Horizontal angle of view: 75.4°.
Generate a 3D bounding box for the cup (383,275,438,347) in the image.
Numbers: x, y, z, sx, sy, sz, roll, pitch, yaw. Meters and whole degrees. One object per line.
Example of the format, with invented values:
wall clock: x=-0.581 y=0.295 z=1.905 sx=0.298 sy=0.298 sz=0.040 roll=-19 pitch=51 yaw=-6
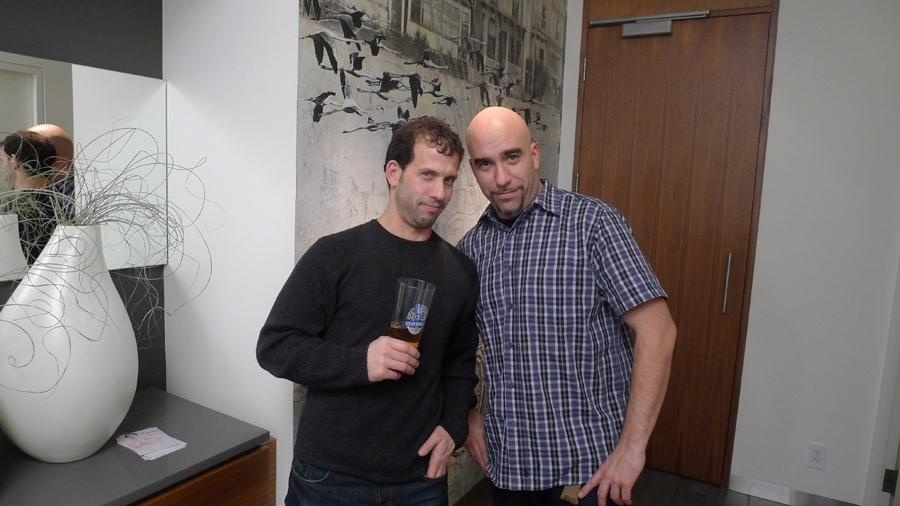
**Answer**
cup: x=-0.166 y=0.254 z=2.510 sx=0.158 sy=0.294 sz=0.120 roll=8 pitch=13 yaw=24
